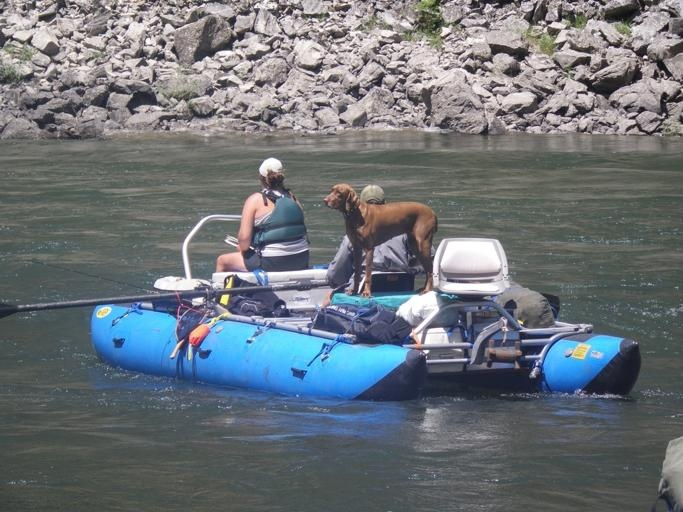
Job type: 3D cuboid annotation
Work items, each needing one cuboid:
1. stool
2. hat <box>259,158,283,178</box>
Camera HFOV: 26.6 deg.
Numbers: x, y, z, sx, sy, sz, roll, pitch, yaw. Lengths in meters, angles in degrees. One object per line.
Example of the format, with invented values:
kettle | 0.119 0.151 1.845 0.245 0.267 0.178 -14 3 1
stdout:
stool | -0.938 0.525 24.396 1.553 0.460 1.023 6 15 -18
hat | -1.168 -1.478 24.166 0.315 0.199 0.377 5 14 9
